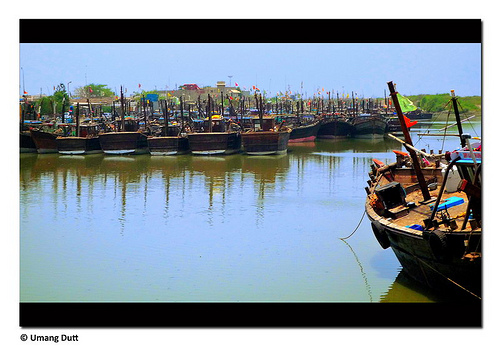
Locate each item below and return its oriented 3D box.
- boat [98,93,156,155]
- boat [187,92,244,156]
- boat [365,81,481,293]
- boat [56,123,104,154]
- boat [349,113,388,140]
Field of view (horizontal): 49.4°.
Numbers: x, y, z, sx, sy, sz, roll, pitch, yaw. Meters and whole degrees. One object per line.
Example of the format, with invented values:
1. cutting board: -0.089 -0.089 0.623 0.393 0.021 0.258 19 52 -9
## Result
1. boat: -9.795 -3.611 41.616 2.864 4.704 3.176 -3 5 0
2. boat: -2.606 -3.872 42.401 4.066 4.849 8.510 -1 11 -1
3. boat: 6.375 -0.842 18.971 2.653 4.821 16.226 4 11 20
4. boat: -12.739 -2.494 41.259 1.494 1.501 4.972 1 10 5
5. boat: 11.313 -4.357 51.903 3.308 2.519 3.261 0 7 19
